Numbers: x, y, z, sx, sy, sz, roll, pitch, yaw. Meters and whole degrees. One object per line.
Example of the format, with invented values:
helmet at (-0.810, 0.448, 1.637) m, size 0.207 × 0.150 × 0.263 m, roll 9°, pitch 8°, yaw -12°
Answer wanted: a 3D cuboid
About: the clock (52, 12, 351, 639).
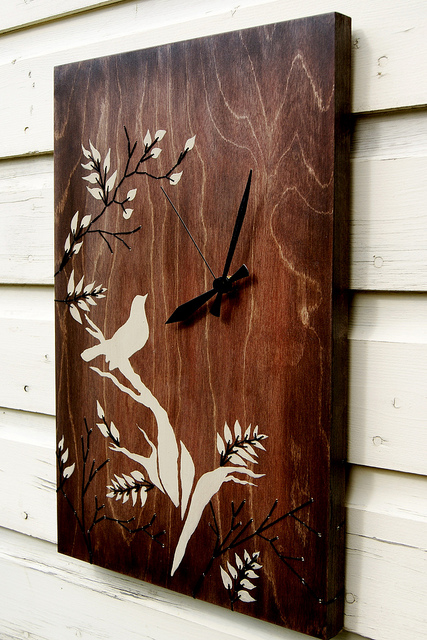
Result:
clock at (-0.050, 0.003, 1.025) m, size 0.535 × 0.594 × 0.126 m, roll 2°, pitch -1°, yaw 36°
